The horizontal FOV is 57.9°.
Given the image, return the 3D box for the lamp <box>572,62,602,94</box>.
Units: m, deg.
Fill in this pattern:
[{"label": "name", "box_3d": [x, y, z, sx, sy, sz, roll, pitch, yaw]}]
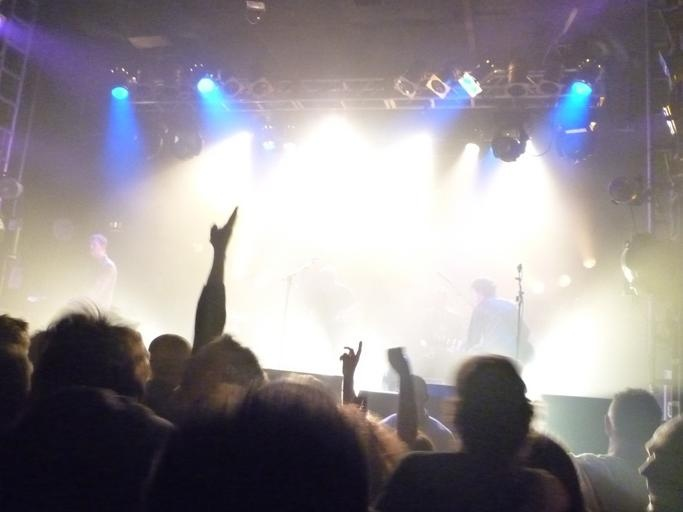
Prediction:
[{"label": "lamp", "box_3d": [3.091, -2.225, 7.810, 0.336, 0.381, 0.347, 10, -32, 36]}]
